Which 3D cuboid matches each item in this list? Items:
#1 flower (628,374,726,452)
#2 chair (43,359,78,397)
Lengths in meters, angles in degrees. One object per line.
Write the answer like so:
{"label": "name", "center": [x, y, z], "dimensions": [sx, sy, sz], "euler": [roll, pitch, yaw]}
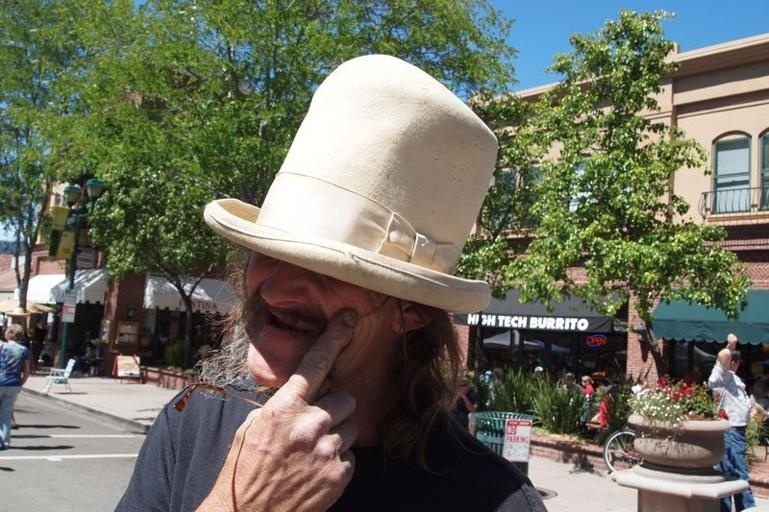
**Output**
{"label": "flower", "center": [4.810, 2.462, 10.998], "dimensions": [1.034, 0.670, 1.134], "euler": [-1, 13, 38]}
{"label": "chair", "center": [-11.156, 4.161, 23.004], "dimensions": [0.867, 1.286, 0.908], "euler": [12, -4, -23]}
